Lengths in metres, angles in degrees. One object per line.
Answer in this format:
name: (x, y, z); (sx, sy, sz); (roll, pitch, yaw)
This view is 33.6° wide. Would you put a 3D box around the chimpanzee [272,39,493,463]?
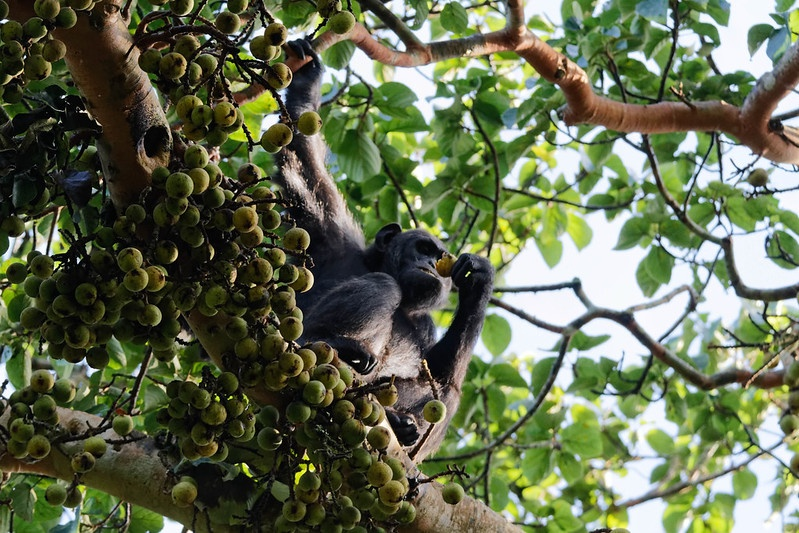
chimpanzee: (-0.110, -0.090, 7.134); (0.848, 1.944, 1.747); (-8, -55, 11)
